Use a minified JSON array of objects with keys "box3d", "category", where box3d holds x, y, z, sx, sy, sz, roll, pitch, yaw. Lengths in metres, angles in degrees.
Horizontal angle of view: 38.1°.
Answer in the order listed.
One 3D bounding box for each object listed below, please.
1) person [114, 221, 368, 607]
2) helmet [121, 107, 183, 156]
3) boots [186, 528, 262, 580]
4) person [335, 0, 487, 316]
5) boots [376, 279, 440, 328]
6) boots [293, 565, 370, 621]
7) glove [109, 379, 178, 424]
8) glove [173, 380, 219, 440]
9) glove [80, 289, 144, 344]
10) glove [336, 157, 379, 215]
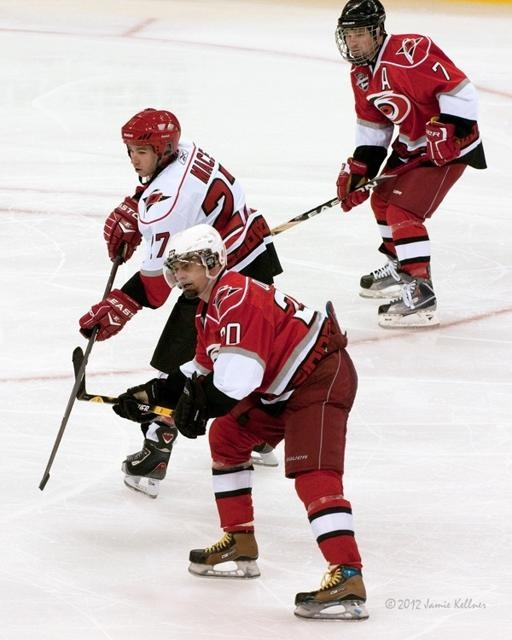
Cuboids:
[{"box3d":[0.017,0.222,1.958,0.470,0.941,0.853,-12,17,-39],"category":"person"},{"box3d":[-0.346,-0.640,2.523,0.169,0.126,0.203,21,26,33],"category":"helmet"},{"box3d":[-0.077,0.633,2.009,0.229,0.118,0.070,-11,-26,28],"category":"boots"},{"box3d":[0.711,-0.769,3.735,0.715,1.591,0.477,10,18,39],"category":"person"},{"box3d":[0.834,-0.087,3.799,0.184,0.251,0.437,-1,-3,-29],"category":"boots"},{"box3d":[0.161,0.631,1.714,0.198,0.102,0.063,8,-25,-22],"category":"boots"},{"box3d":[-0.336,0.239,2.185,0.200,0.059,0.132,2,23,33],"category":"glove"},{"box3d":[-0.164,0.221,1.865,0.077,0.126,0.116,5,17,-8],"category":"glove"},{"box3d":[-0.523,-0.015,2.557,0.155,0.197,0.095,33,-26,-31],"category":"glove"},{"box3d":[0.527,-0.715,3.943,0.143,0.256,0.226,17,-14,-31],"category":"glove"}]
